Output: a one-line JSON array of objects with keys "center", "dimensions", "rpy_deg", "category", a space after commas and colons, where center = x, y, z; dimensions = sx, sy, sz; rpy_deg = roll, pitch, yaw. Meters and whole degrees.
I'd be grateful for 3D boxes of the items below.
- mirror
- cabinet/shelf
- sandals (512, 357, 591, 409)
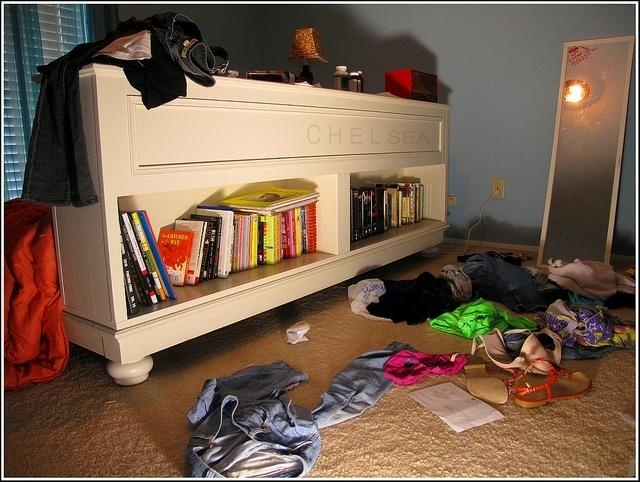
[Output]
[{"center": [1.813, -0.605, 2.939], "dimensions": [0.422, 1.463, 0.499], "rpy_deg": [6, 21, 27], "category": "mirror"}, {"center": [-0.190, -0.264, 2.291], "dimensions": [2.230, 1.206, 0.520], "rpy_deg": [-18, 23, -38], "category": "cabinet/shelf"}, {"center": [0.871, 0.545, 1.632], "dimensions": [0.266, 0.091, 0.144], "rpy_deg": [-9, 14, -15], "category": "sandals"}]
